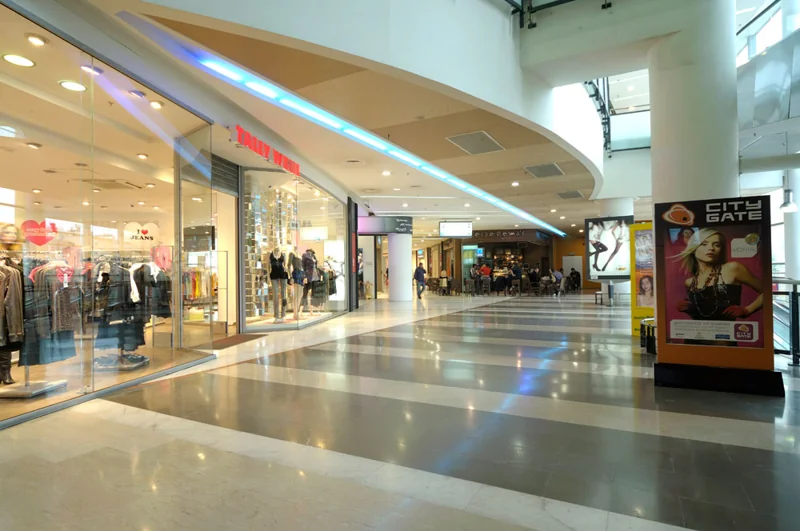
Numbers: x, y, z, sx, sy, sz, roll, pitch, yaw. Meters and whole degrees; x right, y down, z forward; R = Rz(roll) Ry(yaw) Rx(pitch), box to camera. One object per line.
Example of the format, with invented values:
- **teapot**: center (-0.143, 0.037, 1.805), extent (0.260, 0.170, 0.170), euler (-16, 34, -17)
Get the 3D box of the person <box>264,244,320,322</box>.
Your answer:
- **person**: center (-2.325, 0.342, 11.151), extent (0.525, 1.526, 1.535), euler (6, 16, 26)
